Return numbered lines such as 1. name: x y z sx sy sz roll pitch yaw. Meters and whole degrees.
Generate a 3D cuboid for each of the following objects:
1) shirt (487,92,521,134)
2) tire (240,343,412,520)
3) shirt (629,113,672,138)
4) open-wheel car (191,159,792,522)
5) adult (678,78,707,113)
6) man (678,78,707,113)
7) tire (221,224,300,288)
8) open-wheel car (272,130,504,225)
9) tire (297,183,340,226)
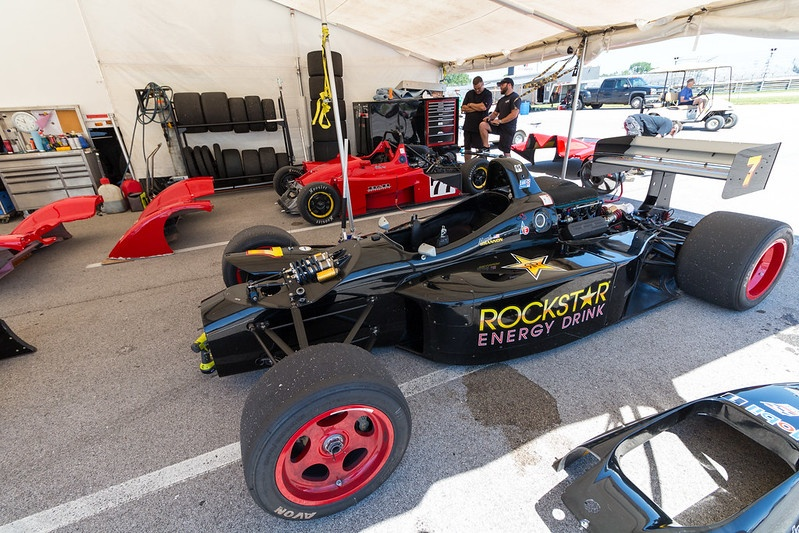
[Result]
1. shirt: 2.028 -2.892 8.968 0.329 0.754 0.638 -22 32 -32
2. tire: -0.540 1.309 3.565 1.021 1.018 0.355 -24 22 -11
3. shirt: 4.336 -2.452 8.266 0.716 0.372 0.511 6 28 18
4. open-wheel car: 1.090 0.819 4.939 5.424 1.808 2.917 -13 25 -15
5. adult: 10.710 -6.152 17.380 0.681 1.404 0.918 -27 30 -37
6. man: 10.729 -6.168 17.360 0.665 1.403 0.976 -29 30 -37
7. tire: -1.368 -0.083 4.717 0.676 0.675 0.276 -17 8 -4
8. open-wheel car: -0.293 -1.346 7.542 2.999 1.058 1.577 -7 16 -22
9. tire: -1.189 -0.943 7.138 0.470 0.473 0.174 -44 36 -13
